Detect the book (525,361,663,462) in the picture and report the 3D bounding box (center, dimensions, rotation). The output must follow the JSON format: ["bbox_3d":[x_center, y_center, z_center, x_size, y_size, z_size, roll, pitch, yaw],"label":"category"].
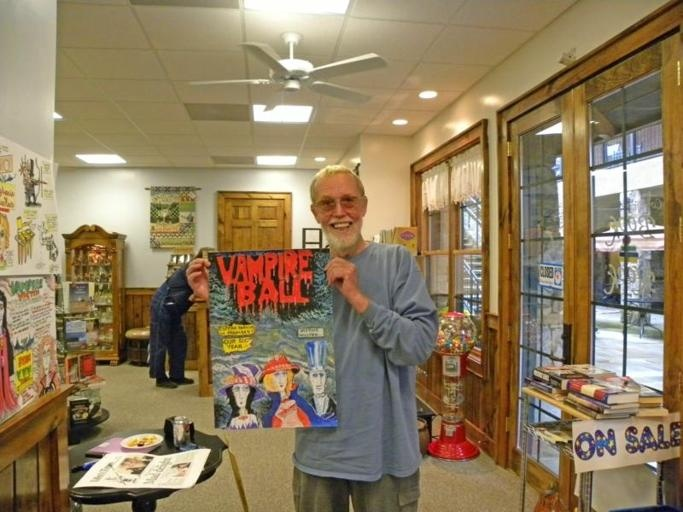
[{"bbox_3d":[1.397,0.769,2.912,0.473,0.206,0.666,-1,1,-30],"label":"book"}]

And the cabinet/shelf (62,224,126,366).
[{"bbox_3d":[-3.895,0.616,8.172,0.796,1.619,0.478,-1,1,-3],"label":"cabinet/shelf"}]
